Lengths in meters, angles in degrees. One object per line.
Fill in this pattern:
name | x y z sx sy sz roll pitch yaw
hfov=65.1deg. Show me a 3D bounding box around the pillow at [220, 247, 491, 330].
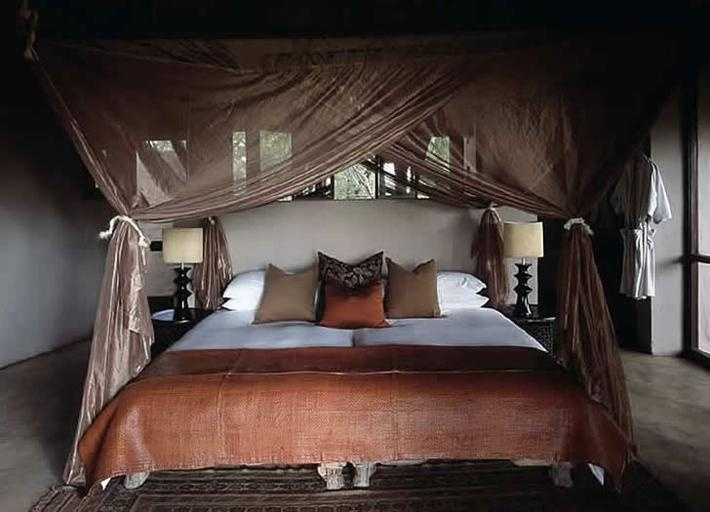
pillow | 0.017 0.280 4.659 2.220 0.464 0.628 0 2 -1
